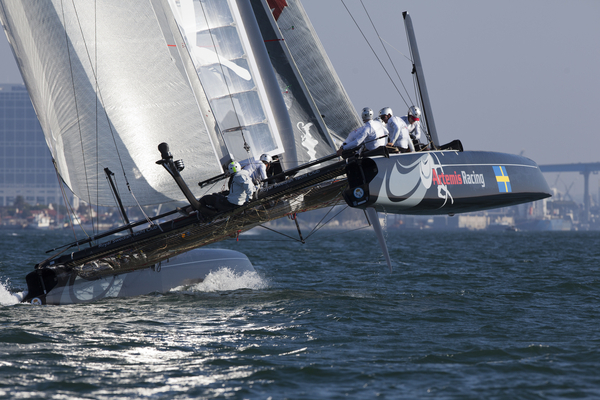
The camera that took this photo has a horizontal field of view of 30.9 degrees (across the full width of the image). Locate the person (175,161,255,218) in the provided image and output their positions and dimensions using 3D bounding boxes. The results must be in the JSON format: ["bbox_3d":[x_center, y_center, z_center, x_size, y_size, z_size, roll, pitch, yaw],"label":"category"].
[{"bbox_3d":[-1.426,-0.310,20.433,1.323,0.690,0.802,4,10,11],"label":"person"}]

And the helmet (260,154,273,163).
[{"bbox_3d":[-0.675,-0.811,21.239,0.179,0.141,0.207,13,20,18],"label":"helmet"}]

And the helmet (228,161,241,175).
[{"bbox_3d":[-1.245,-0.603,20.362,0.216,0.177,0.255,-14,3,1],"label":"helmet"}]
